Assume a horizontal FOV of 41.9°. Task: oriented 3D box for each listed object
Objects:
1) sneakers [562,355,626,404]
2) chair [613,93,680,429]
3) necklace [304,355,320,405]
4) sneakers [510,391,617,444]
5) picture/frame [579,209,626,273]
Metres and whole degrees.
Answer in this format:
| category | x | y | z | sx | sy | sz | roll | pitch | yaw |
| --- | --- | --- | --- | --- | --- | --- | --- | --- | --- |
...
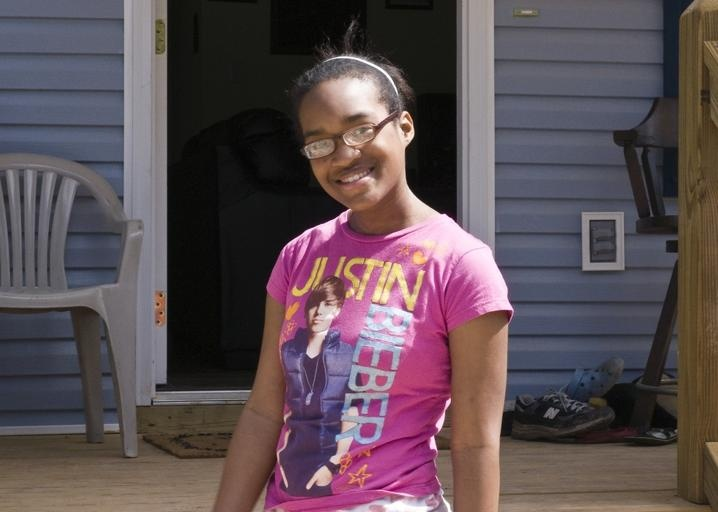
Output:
| category | x | y | z | sx | sy | sz | roll | pitch | yaw |
| --- | --- | --- | --- | --- | --- | --- | --- | --- | --- |
| sneakers | 1.103 | 0.621 | 4.513 | 0.158 | 0.130 | 0.389 | 9 | -32 | -40 |
| chair | 1.358 | 0.009 | 4.478 | 0.305 | 1.033 | 0.628 | 1 | 1 | 18 |
| necklace | -0.146 | 0.359 | 2.728 | 0.040 | 0.132 | 0.004 | 3 | 0 | 20 |
| sneakers | 0.892 | 0.726 | 4.242 | 0.518 | 0.222 | 0.191 | -6 | -2 | 26 |
| picture/frame | 1.231 | -0.068 | 4.781 | 0.328 | 0.406 | 0.031 | 0 | -2 | -5 |
